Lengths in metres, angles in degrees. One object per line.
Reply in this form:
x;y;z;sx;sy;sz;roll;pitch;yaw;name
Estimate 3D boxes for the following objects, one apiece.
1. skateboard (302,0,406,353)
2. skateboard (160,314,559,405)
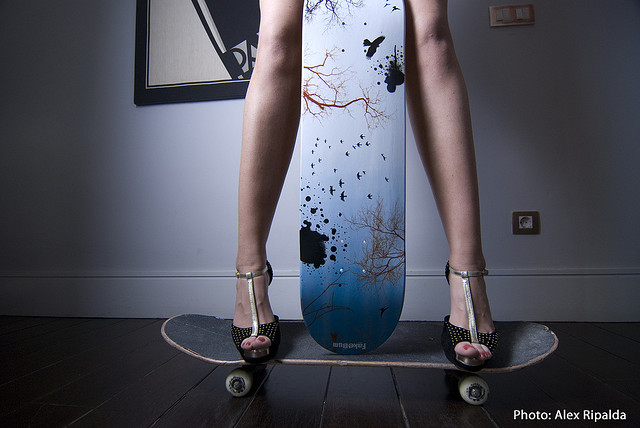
0.134;-0.126;1.806;0.314;1.437;0.190;1;3;4;skateboard
0.156;0.555;1.727;1.020;0.171;0.287;0;-5;4;skateboard
